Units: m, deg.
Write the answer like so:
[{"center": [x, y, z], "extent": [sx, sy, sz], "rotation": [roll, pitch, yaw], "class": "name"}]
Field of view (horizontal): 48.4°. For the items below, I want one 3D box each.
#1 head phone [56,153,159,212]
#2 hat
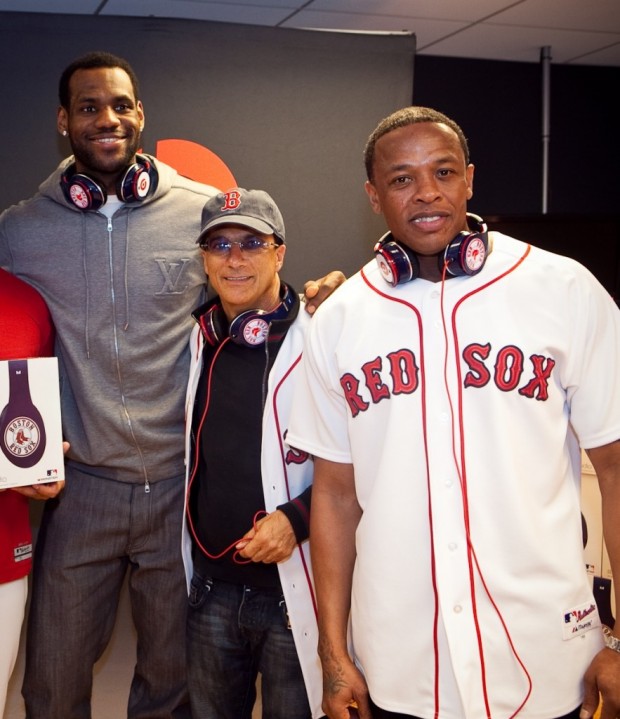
[{"center": [-0.651, -0.584, 2.264], "extent": [0.314, 0.217, 0.206], "rotation": [-1, 4, -20], "class": "head phone"}, {"center": [-0.206, -0.448, 2.105], "extent": [0.253, 0.156, 0.318], "rotation": [-2, 9, -3], "class": "hat"}]
